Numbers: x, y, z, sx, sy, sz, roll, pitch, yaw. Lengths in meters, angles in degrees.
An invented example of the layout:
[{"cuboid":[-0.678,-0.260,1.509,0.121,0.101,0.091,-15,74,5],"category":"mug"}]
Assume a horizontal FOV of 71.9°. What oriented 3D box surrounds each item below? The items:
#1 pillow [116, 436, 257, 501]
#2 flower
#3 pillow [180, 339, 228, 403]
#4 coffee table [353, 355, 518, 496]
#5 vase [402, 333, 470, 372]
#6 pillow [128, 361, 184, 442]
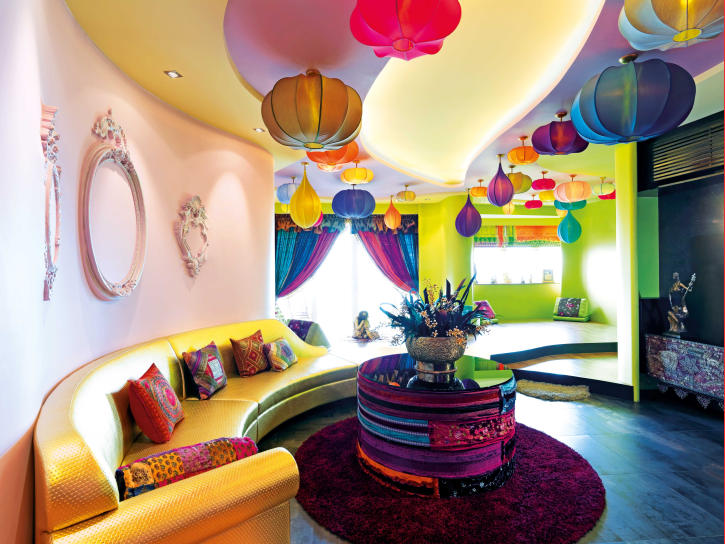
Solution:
[{"cuboid":[-1.017,1.072,2.787,0.468,0.159,0.361,-5,-3,-25],"category":"pillow"},{"cuboid":[0.856,0.394,6.538,1.207,0.741,0.991,3,-8,-39],"category":"flower"},{"cuboid":[-1.314,0.845,4.513,0.476,0.419,0.223,-23,22,14],"category":"pillow"},{"cuboid":[0.669,1.244,4.470,1.378,0.885,1.485,-1,5,4],"category":"coffee table"},{"cuboid":[0.646,0.691,4.370,0.525,0.339,0.559,-2,2,-19],"category":"vase"},{"cuboid":[-1.541,0.985,3.768,0.255,0.512,0.539,-4,4,-9],"category":"pillow"}]
